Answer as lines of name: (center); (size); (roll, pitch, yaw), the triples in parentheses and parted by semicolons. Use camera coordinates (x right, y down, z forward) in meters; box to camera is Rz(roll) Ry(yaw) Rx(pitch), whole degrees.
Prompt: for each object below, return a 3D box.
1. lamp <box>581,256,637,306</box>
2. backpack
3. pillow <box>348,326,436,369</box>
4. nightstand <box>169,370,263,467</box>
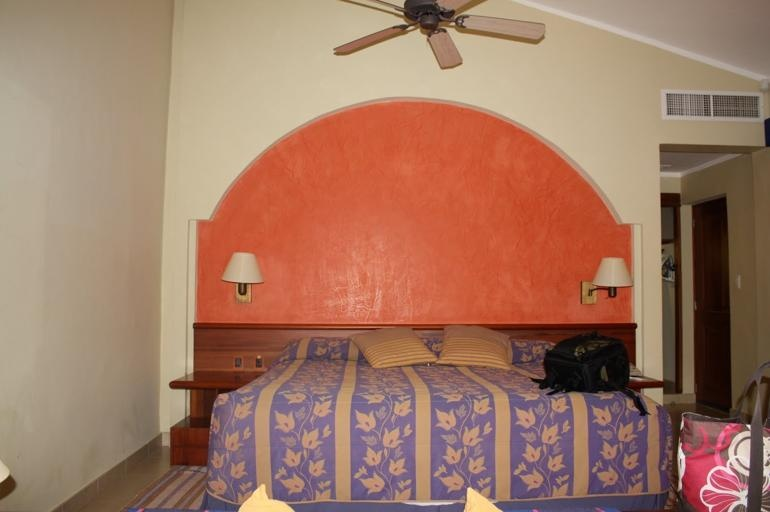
lamp: (2.266, 0.244, 6.164); (0.436, 0.493, 0.531); (3, -6, -9)
backpack: (1.647, 0.907, 5.058); (1.043, 0.369, 0.768); (-11, 8, -29)
pillow: (0.040, 0.861, 5.787); (0.791, 0.177, 0.814); (-2, 24, 0)
nightstand: (-1.603, 1.578, 5.890); (0.816, 0.729, 0.603); (-1, -7, 5)
